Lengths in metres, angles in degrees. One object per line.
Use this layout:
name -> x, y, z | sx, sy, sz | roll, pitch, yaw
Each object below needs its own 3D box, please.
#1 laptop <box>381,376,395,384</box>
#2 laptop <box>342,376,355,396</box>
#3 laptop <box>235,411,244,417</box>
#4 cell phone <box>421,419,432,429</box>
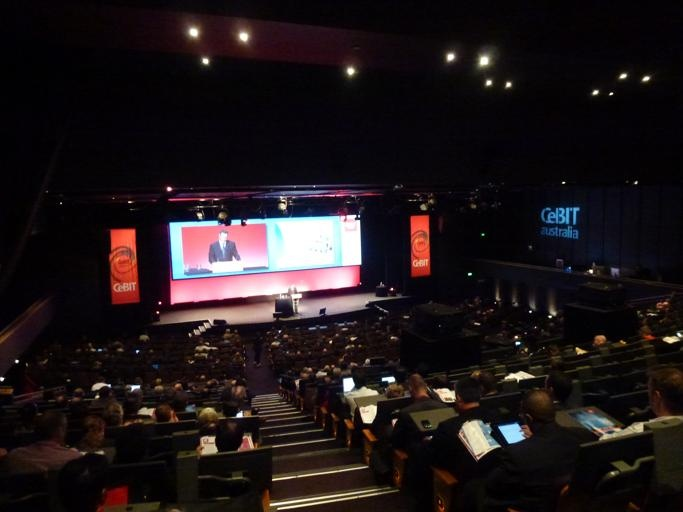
laptop -> 0.939, 2.499, 10.318 | 0.222, 0.057, 0.214 | -1, 2, -11
laptop -> 0.124, 2.477, 9.855 | 0.255, 0.257, 0.204 | 1, -7, -19
laptop -> -1.603, 2.498, 8.154 | 0.168, 0.044, 0.187 | -1, 6, -18
cell phone -> 1.113, 2.199, 6.691 | 0.127, 0.080, 0.103 | -2, -3, 2
